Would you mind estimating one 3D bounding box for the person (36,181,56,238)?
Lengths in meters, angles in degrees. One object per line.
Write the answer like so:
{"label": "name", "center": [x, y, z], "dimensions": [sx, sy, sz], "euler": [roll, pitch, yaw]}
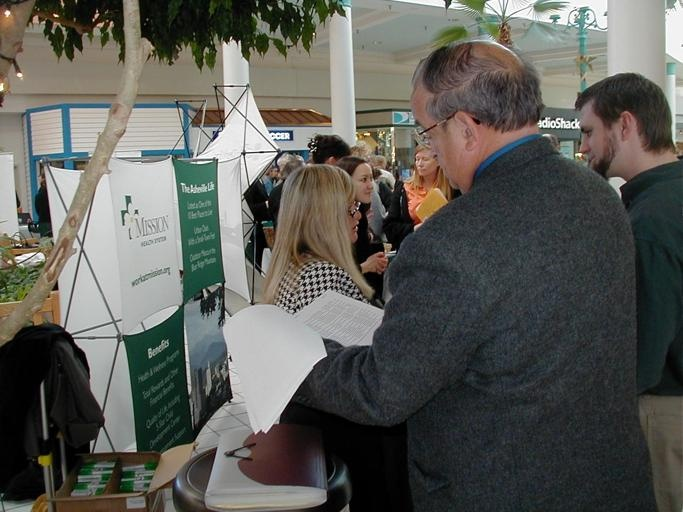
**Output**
{"label": "person", "center": [-5.890, -0.947, 10.270], "dimensions": [0.234, 1.108, 3.079], "euler": [-3, 4, -30]}
